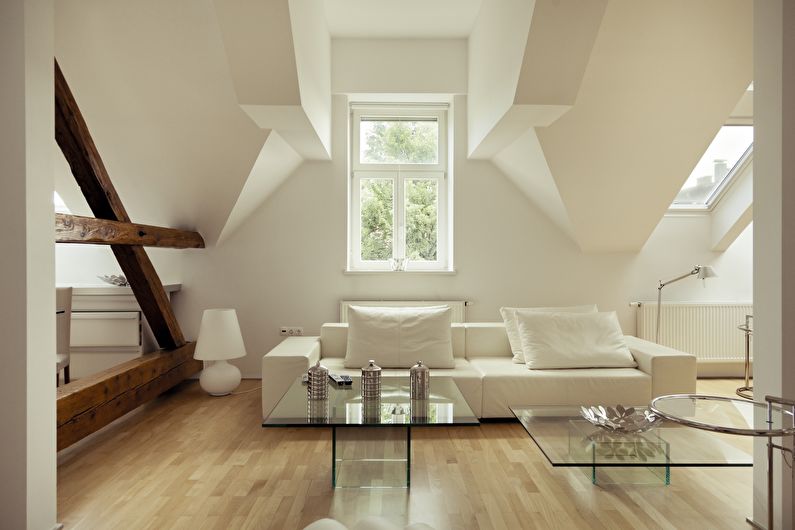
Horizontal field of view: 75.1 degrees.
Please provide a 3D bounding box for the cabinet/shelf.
[{"bbox_3d":[-2.760,0.617,5.306,1.204,1.130,0.777,-1,-3,-6],"label":"cabinet/shelf"}]

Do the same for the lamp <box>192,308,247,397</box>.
[{"bbox_3d":[-1.732,0.842,5.033,0.445,0.890,0.490,-4,10,-19],"label":"lamp"}]

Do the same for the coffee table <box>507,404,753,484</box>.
[{"bbox_3d":[1.437,1.058,3.214,1.343,0.152,0.749,0,8,3],"label":"coffee table"}]
